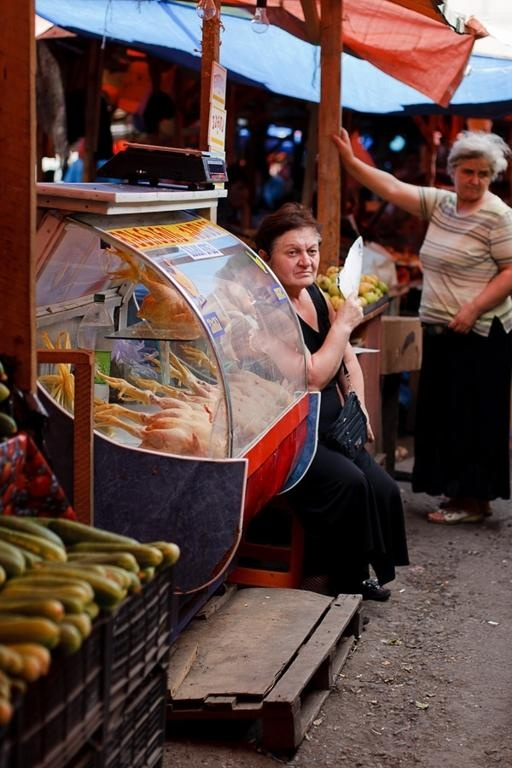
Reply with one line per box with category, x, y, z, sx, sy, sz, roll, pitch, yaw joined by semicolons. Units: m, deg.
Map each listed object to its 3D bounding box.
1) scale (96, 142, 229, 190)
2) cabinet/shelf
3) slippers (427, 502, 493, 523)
scale;-0.396;-0.824;2.697;0.299;0.216;0.472;8;15;21
cabinet/shelf;-0.326;-0.013;2.411;0.843;1.196;1.002;6;8;15
slippers;1.281;0.818;4.360;0.426;0.181;0.149;2;-3;-9
